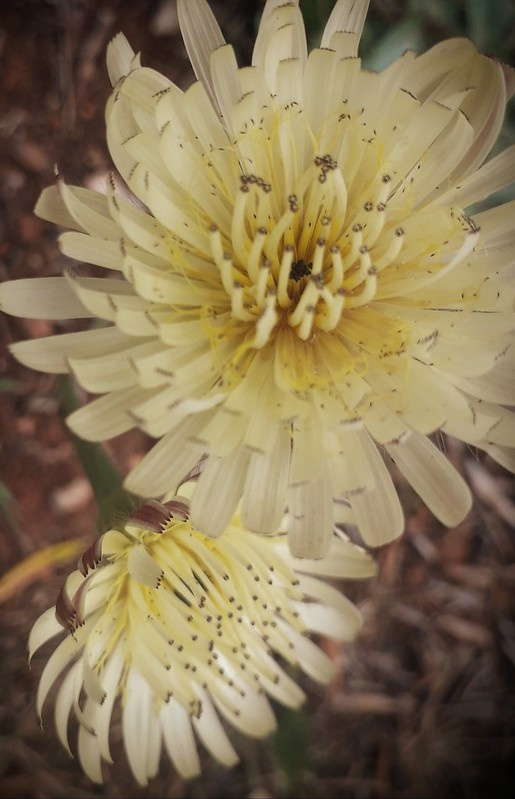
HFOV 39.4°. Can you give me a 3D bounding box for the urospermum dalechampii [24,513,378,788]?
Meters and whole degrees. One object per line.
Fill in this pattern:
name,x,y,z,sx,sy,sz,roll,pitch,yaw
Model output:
urospermum dalechampii,-0.068,0.199,0.735,0.320,0.112,0.281,4,-67,-34
